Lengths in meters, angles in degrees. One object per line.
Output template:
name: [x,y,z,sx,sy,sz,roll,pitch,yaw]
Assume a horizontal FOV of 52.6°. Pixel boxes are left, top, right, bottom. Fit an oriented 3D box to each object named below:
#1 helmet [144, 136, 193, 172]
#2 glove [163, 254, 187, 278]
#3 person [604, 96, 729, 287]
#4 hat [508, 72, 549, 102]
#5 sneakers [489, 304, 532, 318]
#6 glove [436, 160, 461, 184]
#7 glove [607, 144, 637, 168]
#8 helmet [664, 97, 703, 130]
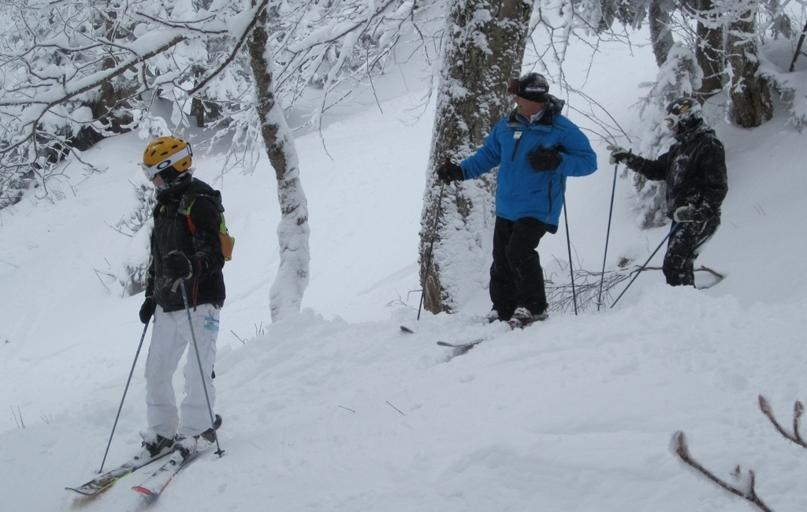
helmet: [-3.218,-1.410,11.222,0.571,0.539,0.424,11,-1,-16]
glove: [-3.041,0.134,11.046,0.293,0.316,0.301,-12,10,-28]
person: [4.229,-0.927,12.431,1.326,2.832,0.767,-7,12,20]
hat: [1.823,-2.431,11.846,0.485,0.293,0.372,15,27,7]
sneakers: [1.575,0.845,12.103,0.600,0.228,0.230,2,-5,2]
glove: [0.712,-1.263,12.388,0.379,0.296,0.191,-5,10,12]
glove: [3.299,-1.544,12.652,0.272,0.251,0.441,9,0,-22]
helmet: [4.188,-2.128,12.391,0.525,0.474,0.398,-6,-12,-30]
